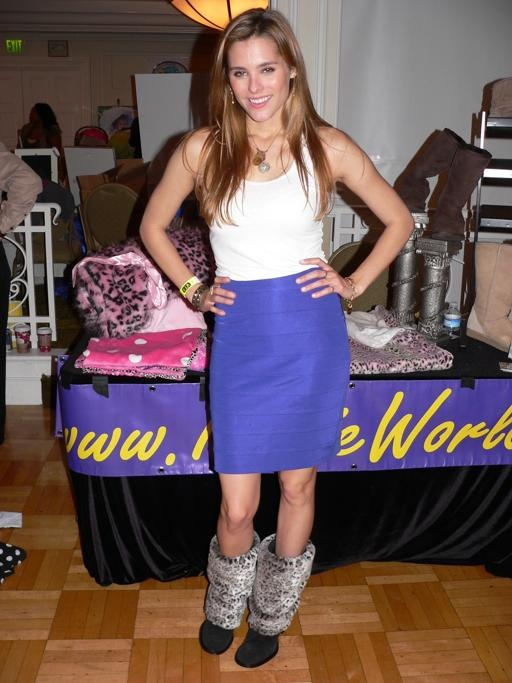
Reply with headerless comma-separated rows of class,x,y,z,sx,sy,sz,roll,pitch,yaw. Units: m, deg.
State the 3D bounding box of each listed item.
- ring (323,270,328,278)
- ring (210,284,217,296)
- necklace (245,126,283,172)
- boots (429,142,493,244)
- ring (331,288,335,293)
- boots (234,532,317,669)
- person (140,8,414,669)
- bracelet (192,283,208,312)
ring,0.152,-0.149,1.232,0.015,0.018,0.007,-2,-2,-11
ring,-0.095,-0.118,1.255,0.017,0.007,0.040,-28,40,33
necklace,0.026,-0.422,1.221,0.034,0.039,0.112,34,54,-1
boots,0.714,-0.525,1.960,0.165,0.331,0.270,6,14,17
ring,0.170,-0.115,1.240,0.013,0.012,0.003,-2,0,7
boots,0.037,0.694,1.490,0.135,0.271,0.229,11,2,18
person,0.060,0.071,1.359,0.654,1.553,0.310,-1,14,-10
bracelet,-0.137,-0.105,1.340,0.016,0.056,0.060,12,14,1
